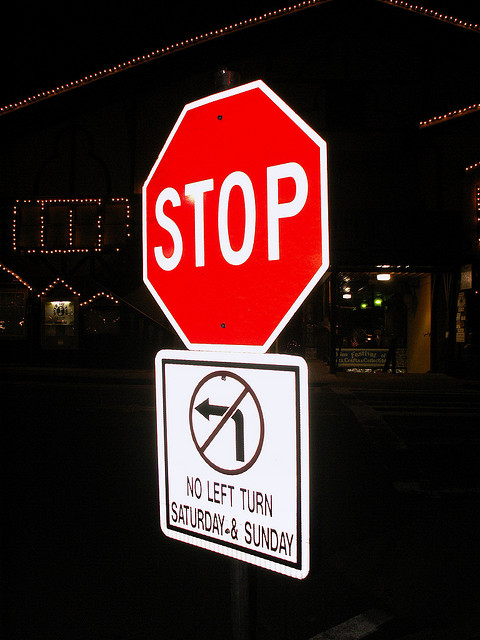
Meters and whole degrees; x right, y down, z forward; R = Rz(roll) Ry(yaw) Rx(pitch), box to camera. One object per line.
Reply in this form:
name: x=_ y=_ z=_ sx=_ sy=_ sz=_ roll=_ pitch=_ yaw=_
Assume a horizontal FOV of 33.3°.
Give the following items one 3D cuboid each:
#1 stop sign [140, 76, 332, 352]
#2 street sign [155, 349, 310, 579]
stop sign: x=-0.046 y=-0.512 z=3.943 sx=1.027 sy=1.333 sz=0.191 roll=1 pitch=1 yaw=33
street sign: x=-0.026 y=0.652 z=3.838 sx=0.782 sy=1.389 sz=0.070 roll=3 pitch=5 yaw=36
